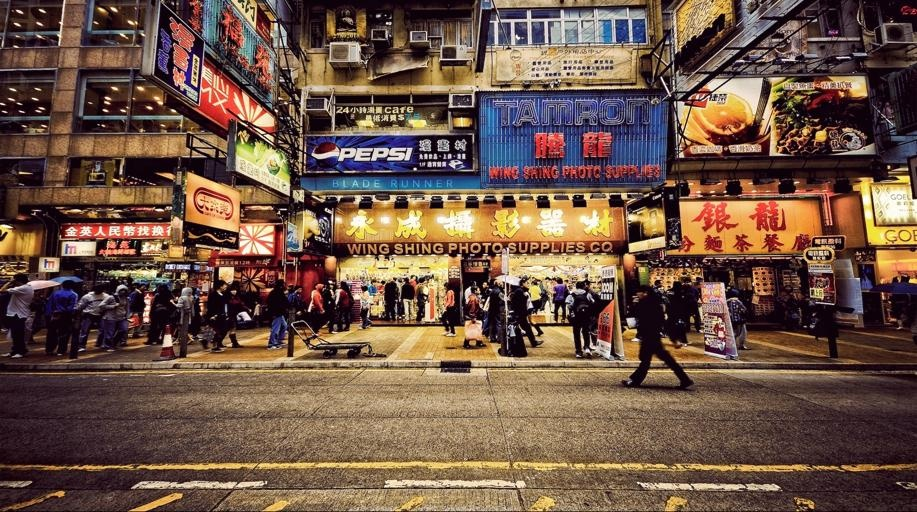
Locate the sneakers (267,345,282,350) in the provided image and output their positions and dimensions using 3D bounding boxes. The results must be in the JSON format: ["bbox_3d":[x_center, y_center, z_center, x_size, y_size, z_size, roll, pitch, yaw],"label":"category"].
[{"bbox_3d":[-8.774,4.377,28.314,0.663,0.232,0.235,-3,1,-11],"label":"sneakers"}]

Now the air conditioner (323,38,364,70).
[{"bbox_3d":[-6.525,-11.568,34.606,2.685,1.531,1.377,-1,-14,-2],"label":"air conditioner"}]

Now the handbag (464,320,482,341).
[{"bbox_3d":[0.791,3.581,28.460,0.770,1.018,0.651,-1,-6,-2],"label":"handbag"}]

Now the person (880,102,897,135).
[{"bbox_3d":[23.749,-7.520,32.347,0.424,1.488,1.100,-16,-5,40],"label":"person"}]

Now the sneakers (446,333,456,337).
[{"bbox_3d":[-0.306,4.144,31.006,0.481,0.153,0.161,2,-3,1],"label":"sneakers"}]

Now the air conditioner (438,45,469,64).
[{"bbox_3d":[-0.132,-11.679,34.536,2.058,0.824,0.991,0,4,1],"label":"air conditioner"}]

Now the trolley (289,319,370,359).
[{"bbox_3d":[-5.780,3.853,27.489,4.040,1.715,1.716,-1,-2,-1],"label":"trolley"}]
